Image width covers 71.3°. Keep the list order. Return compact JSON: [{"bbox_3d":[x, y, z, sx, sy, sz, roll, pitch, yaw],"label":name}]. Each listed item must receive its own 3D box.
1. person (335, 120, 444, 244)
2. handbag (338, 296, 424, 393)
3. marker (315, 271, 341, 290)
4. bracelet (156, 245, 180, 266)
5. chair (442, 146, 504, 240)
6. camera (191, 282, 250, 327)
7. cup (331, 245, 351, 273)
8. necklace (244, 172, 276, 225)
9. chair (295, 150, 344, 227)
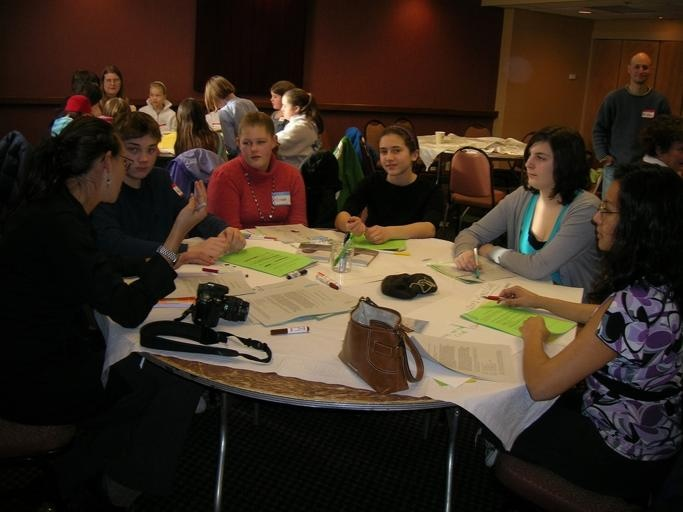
[{"bbox_3d":[0.300,-0.374,2.915,0.609,0.858,0.846,4,15,17],"label":"person"},{"bbox_3d":[0.119,0.247,1.351,0.168,0.201,0.242,-8,16,-32],"label":"handbag"},{"bbox_3d":[-0.061,0.092,1.952,0.040,0.030,0.172,9,13,-32],"label":"marker"},{"bbox_3d":[-0.645,-0.001,1.763,0.057,0.050,0.037,45,0,-42],"label":"bracelet"},{"bbox_3d":[1.590,-0.736,5.597,0.679,1.230,0.753,6,27,22],"label":"chair"},{"bbox_3d":[-0.389,0.154,1.526,0.142,0.095,0.140,6,30,2],"label":"camera"},{"bbox_3d":[-0.011,0.008,2.115,0.096,0.115,0.098,2,24,-1],"label":"cup"},{"bbox_3d":[-0.503,-0.347,2.919,0.152,0.308,0.059,-8,6,-12],"label":"necklace"},{"bbox_3d":[-0.116,-0.448,3.176,0.321,0.478,0.164,-4,9,-14],"label":"chair"}]
